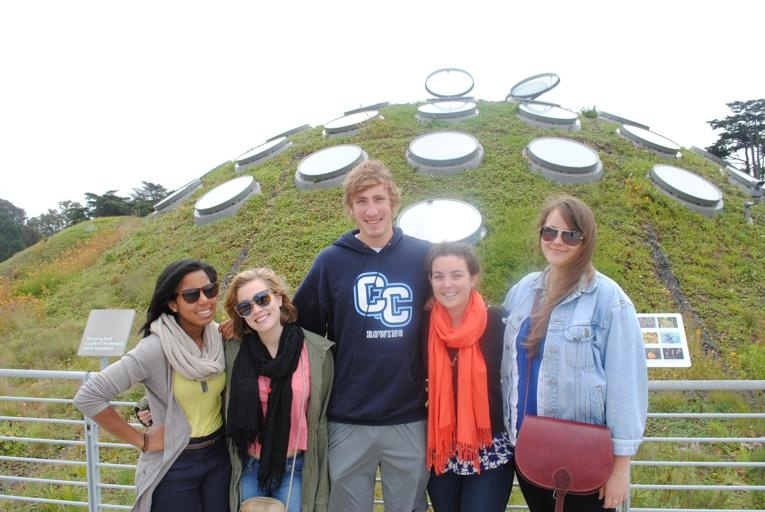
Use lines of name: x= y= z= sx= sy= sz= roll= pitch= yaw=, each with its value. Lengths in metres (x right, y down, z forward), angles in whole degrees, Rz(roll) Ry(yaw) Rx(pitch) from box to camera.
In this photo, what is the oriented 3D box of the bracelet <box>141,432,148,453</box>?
bracelet: x=-3.467 y=2.700 z=7.990 sx=0.064 sy=0.202 sz=0.162 roll=1 pitch=12 yaw=-4
